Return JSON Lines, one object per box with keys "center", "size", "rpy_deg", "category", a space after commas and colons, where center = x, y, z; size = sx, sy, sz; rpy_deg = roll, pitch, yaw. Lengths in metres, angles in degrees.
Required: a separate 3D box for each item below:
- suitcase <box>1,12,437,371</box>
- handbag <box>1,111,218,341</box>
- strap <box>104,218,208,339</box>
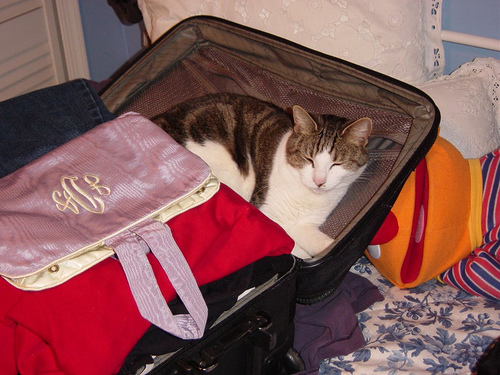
{"center": [-0.022, 0.078, 1.130], "size": [0.599, 0.260, 0.853], "rpy_deg": [34, 52, 24], "category": "suitcase"}
{"center": [-0.227, 0.061, 0.876], "size": [0.350, 0.272, 0.308], "rpy_deg": [-7, 30, 8], "category": "handbag"}
{"center": [-0.140, 0.151, 0.800], "size": [0.096, 0.164, 0.122], "rpy_deg": [-25, 32, -22], "category": "strap"}
